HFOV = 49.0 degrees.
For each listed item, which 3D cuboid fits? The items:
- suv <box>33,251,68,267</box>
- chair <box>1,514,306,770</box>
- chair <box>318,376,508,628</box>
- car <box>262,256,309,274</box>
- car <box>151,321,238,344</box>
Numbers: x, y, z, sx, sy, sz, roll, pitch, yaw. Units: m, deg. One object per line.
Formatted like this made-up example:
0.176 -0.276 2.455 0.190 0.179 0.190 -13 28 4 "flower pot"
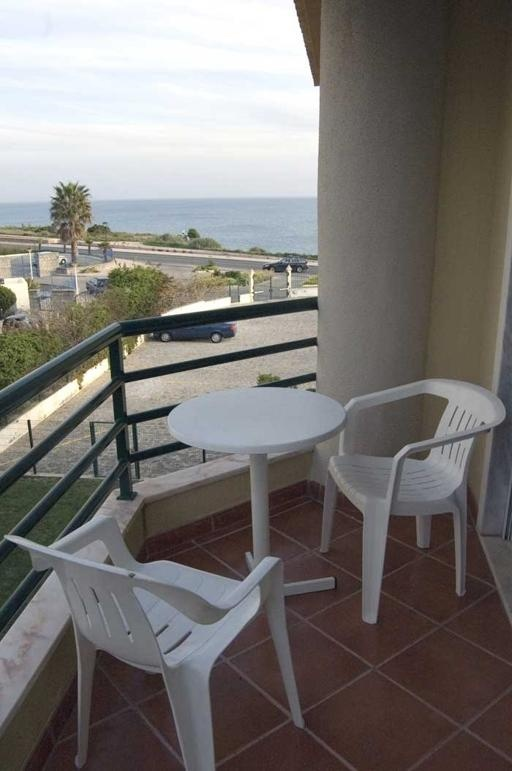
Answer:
-19.350 -12.085 53.645 2.052 1.274 7.840 -2 12 -9 "suv"
-0.251 0.676 1.434 0.416 0.567 0.403 13 27 34 "chair"
0.594 0.330 2.363 0.760 1.018 0.776 -5 17 -11 "chair"
3.041 -11.268 52.393 2.734 1.380 4.111 -10 15 -40 "car"
-3.141 -2.895 31.036 2.586 1.221 5.303 -10 14 -38 "car"
